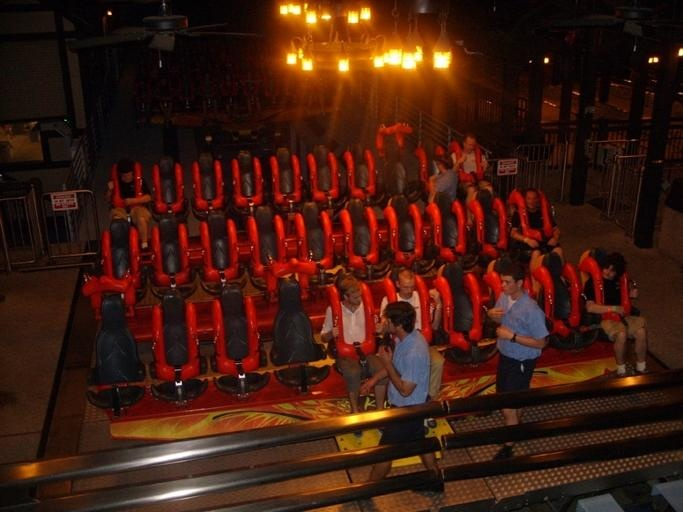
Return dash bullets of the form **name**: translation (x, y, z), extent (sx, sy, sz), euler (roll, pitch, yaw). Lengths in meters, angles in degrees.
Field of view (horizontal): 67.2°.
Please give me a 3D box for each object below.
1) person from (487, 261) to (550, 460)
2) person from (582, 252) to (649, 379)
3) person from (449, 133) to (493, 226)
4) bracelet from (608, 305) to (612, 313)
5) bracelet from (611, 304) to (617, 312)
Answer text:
- **person**: translation (1.643, 0.665, 4.779), extent (0.508, 1.228, 0.441), euler (-3, 3, 11)
- **person**: translation (3.335, 0.686, 6.215), extent (0.842, 1.478, 0.461), euler (-4, 3, -23)
- **person**: translation (2.403, -1.429, 9.438), extent (0.724, 1.688, 0.983), euler (-3, 4, 0)
- **bracelet**: translation (3.158, 0.607, 6.046), extent (0.064, 0.066, 0.020), euler (1, -1, -14)
- **bracelet**: translation (3.207, 0.608, 6.053), extent (0.080, 0.070, 0.034), euler (-3, 3, 8)
